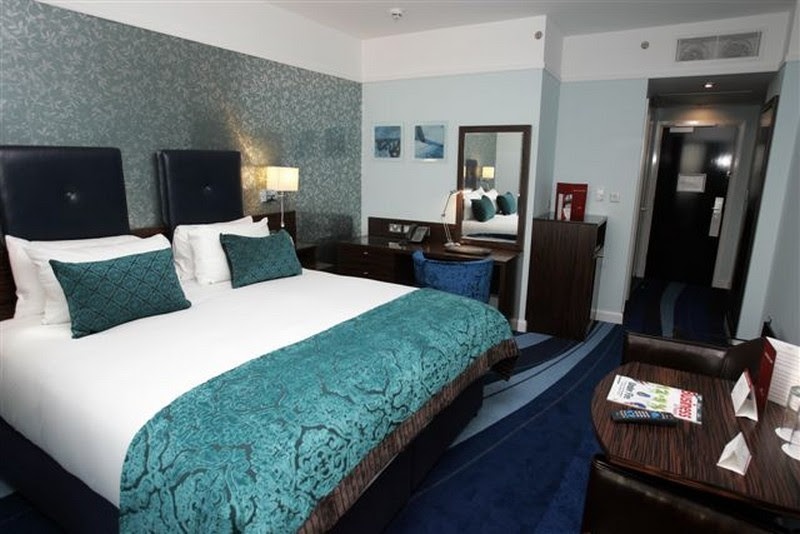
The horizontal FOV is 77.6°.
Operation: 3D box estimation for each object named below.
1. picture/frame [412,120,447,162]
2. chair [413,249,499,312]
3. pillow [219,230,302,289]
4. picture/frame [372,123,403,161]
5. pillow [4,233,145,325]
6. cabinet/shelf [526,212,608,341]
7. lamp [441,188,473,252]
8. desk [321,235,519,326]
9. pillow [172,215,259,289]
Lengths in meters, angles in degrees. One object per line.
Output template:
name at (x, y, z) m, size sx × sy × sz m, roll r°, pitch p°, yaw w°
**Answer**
picture/frame at (0.348, -1.451, 5.682) m, size 0.454 × 0.469 × 0.046 m, roll 4°, pitch 9°, yaw 29°
chair at (0.559, 0.041, 4.866) m, size 0.527 × 0.691 × 0.563 m, roll 7°, pitch 20°, yaw 27°
pillow at (-1.200, -0.124, 4.318) m, size 0.693 × 0.527 × 0.208 m, roll -13°, pitch 19°, yaw 26°
picture/frame at (-0.141, -1.504, 5.930) m, size 0.418 × 0.421 × 0.045 m, roll 8°, pitch 15°, yaw 31°
pillow at (-2.250, 0.111, 3.371) m, size 0.174 × 0.590 × 0.614 m, roll -8°, pitch -6°, yaw 45°
cabinet/shelf at (1.887, 0.071, 5.626) m, size 0.617 × 1.163 × 0.872 m, roll 7°, pitch 7°, yaw 30°
lamp at (0.717, -0.629, 5.834) m, size 0.413 × 0.763 × 0.166 m, roll -13°, pitch 41°, yaw 3°
desk at (-0.159, 0.092, 5.926) m, size 1.676 × 0.842 × 0.578 m, roll -5°, pitch 17°, yaw -33°
pillow at (-1.786, -0.092, 4.228) m, size 0.566 × 0.559 × 0.161 m, roll -8°, pitch -2°, yaw -34°
